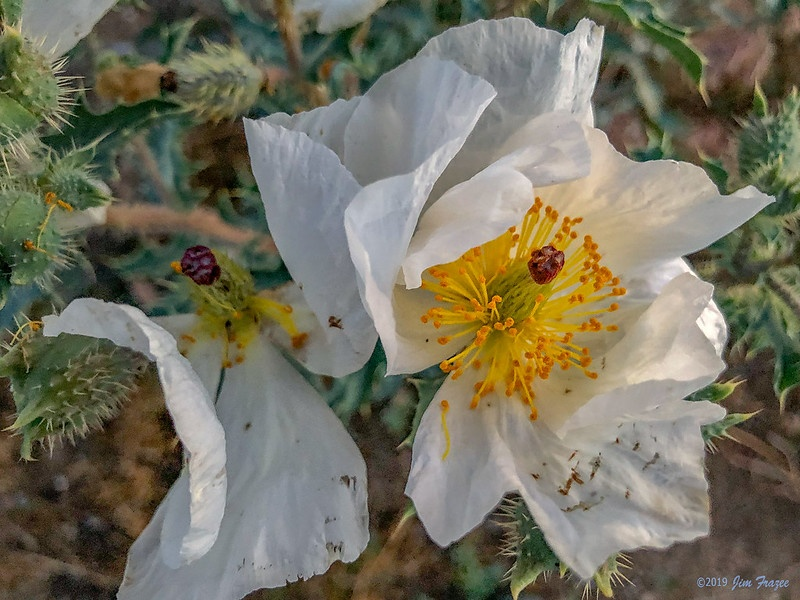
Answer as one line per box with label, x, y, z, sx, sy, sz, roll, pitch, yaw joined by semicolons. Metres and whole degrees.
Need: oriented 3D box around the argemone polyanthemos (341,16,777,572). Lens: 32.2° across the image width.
argemone polyanthemos;0.308;-0.021;3.230;0.955;0.487;1.243;-21;99;-11
